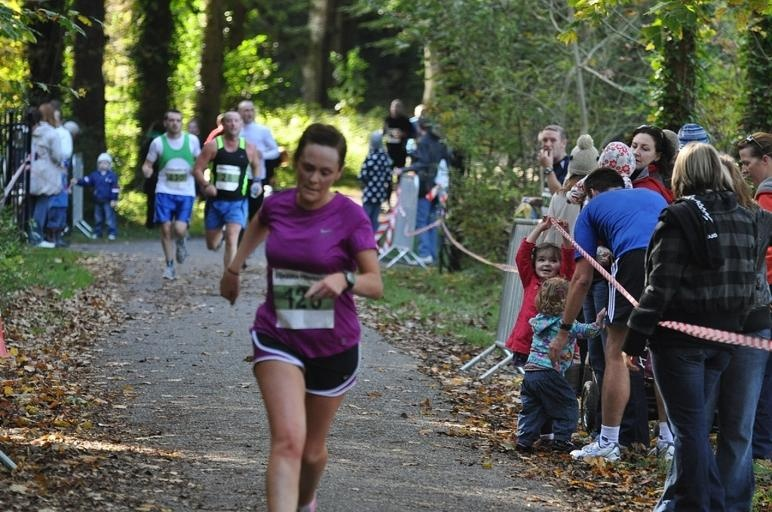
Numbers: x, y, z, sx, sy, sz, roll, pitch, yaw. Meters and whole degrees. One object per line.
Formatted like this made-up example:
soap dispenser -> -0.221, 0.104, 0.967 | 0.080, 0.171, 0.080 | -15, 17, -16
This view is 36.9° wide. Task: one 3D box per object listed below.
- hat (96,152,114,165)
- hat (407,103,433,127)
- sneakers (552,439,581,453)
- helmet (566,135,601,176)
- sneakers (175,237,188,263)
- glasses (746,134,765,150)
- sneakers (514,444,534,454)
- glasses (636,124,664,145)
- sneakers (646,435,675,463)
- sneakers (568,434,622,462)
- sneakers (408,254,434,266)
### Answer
hat -> -5.607, -1.951, 23.220 | 0.274, 0.233, 0.311 | -4, -9, -11
hat -> 0.643, -2.567, 21.355 | 0.395, 0.513, 0.573 | 1, -4, 0
sneakers -> 1.847, 1.977, 12.086 | 0.362, 0.126, 0.110 | 0, 8, -1
helmet -> 2.225, -1.145, 13.072 | 0.355, 0.355, 0.345 | -1, 19, -44
sneakers -> -3.322, -0.063, 18.738 | 0.202, 0.488, 0.232 | -1, 4, 2
glasses -> 3.880, -1.194, 12.070 | 0.170, 0.049, 0.166 | 35, -3, -21
sneakers -> 1.443, 2.014, 12.130 | 0.212, 0.064, 0.086 | 9, -4, -15
glasses -> 2.841, -1.280, 12.430 | 0.251, 0.100, 0.204 | 17, 3, -43
sneakers -> 2.855, 1.997, 11.933 | 0.161, 0.165, 0.436 | 1, 3, -8
sneakers -> 2.170, 1.977, 11.816 | 0.597, 0.232, 0.189 | 2, -5, 5
sneakers -> 0.656, 0.094, 20.945 | 0.477, 0.175, 0.163 | 6, -4, -45
